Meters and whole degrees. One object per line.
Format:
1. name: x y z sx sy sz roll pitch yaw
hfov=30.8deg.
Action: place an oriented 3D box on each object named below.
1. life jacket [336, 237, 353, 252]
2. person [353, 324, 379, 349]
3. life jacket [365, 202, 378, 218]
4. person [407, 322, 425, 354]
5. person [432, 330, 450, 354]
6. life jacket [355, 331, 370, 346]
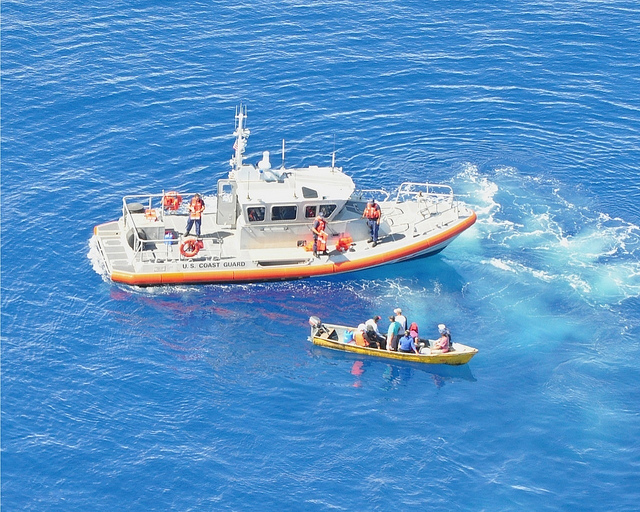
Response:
1. life jacket: 1.273 -0.606 58.820 0.533 0.397 0.949 15 30 11
2. person: 2.088 3.760 53.995 0.892 0.813 1.077 -15 50 -15
3. life jacket: 2.621 -2.248 58.358 0.862 0.332 0.595 5 92 16
4. person: 4.523 3.790 54.097 0.987 1.170 0.424 -1 18 26
5. person: 5.653 4.019 53.771 0.910 0.945 0.729 7 41 13
6. life jacket: 1.907 3.879 54.164 0.803 0.571 0.606 2 78 -13
